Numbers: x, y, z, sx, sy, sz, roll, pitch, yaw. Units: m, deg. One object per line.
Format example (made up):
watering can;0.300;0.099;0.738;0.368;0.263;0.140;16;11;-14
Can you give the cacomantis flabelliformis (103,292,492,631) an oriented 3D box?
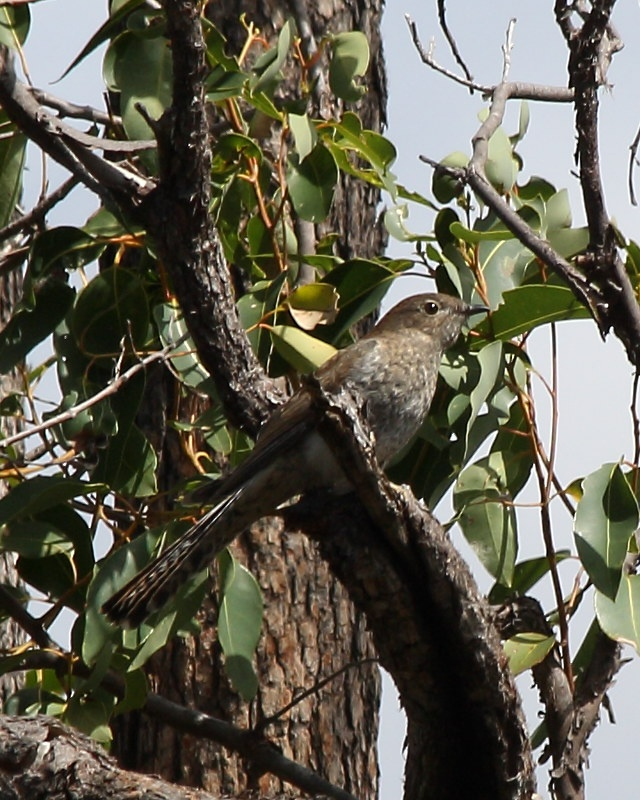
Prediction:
cacomantis flabelliformis;-0.061;0.136;4.437;1.009;0.686;0.381;-16;-40;5
